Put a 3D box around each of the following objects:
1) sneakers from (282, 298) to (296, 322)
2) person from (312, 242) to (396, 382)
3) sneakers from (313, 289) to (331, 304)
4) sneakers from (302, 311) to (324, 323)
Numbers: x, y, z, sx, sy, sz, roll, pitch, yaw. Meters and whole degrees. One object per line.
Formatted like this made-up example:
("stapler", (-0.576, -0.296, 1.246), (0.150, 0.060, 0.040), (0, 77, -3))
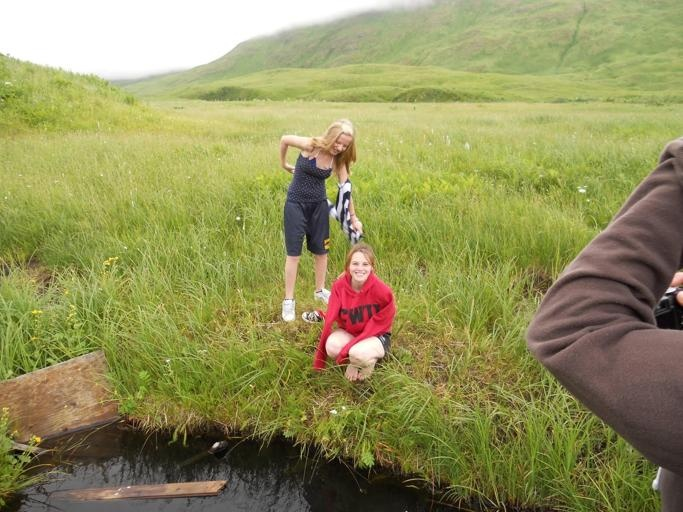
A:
("sneakers", (-0.623, 0.623, 6.048), (0.113, 0.126, 0.309), (-2, 45, -8))
("person", (0.151, 0.584, 5.159), (0.654, 1.286, 0.656), (10, 29, 25))
("sneakers", (-0.230, 0.495, 6.386), (0.273, 0.125, 0.120), (15, 25, 42))
("sneakers", (-0.347, 0.725, 5.972), (0.286, 0.111, 0.125), (5, -15, -9))
